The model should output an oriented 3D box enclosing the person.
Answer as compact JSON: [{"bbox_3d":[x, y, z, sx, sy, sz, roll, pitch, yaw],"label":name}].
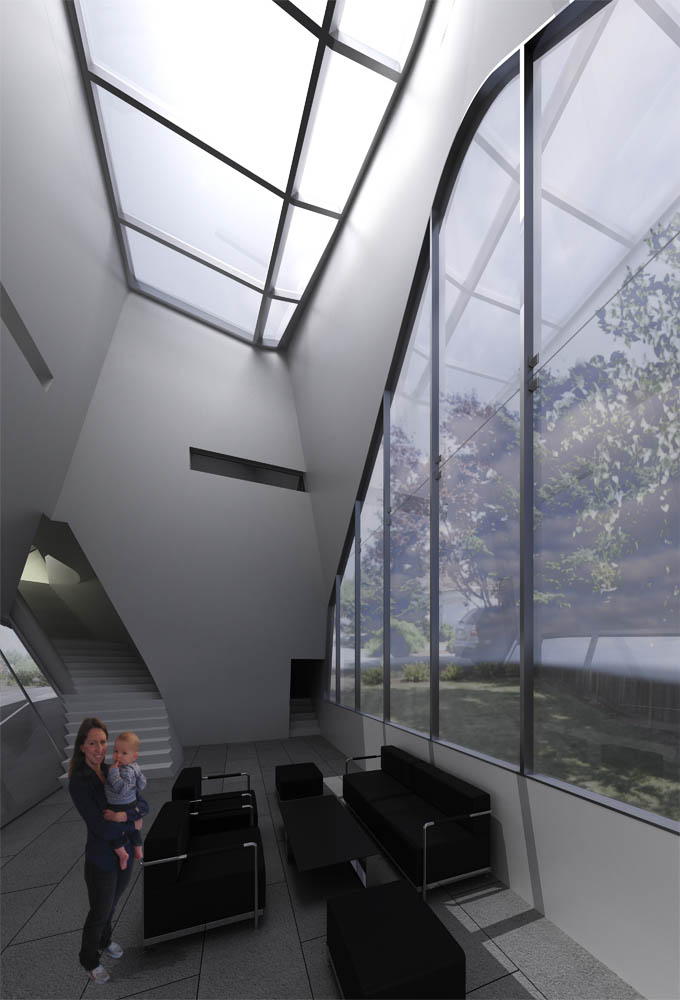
[{"bbox_3d":[-1.350,2.011,3.447,0.425,1.476,0.323,4,-10,-29],"label":"person"}]
